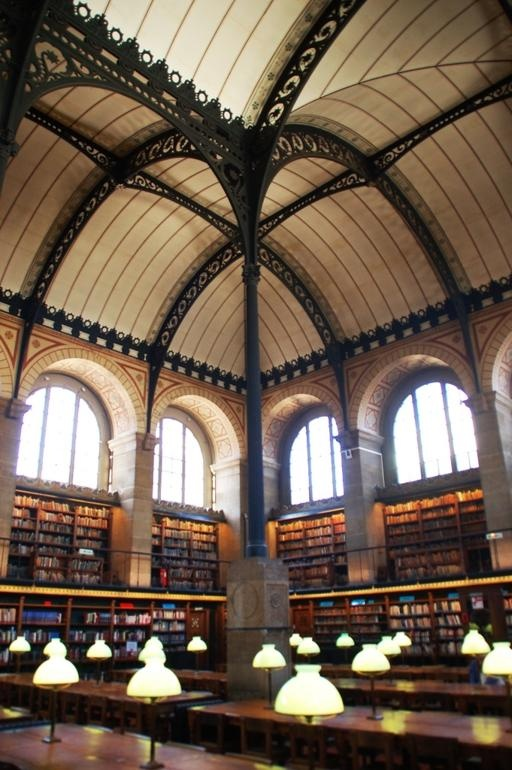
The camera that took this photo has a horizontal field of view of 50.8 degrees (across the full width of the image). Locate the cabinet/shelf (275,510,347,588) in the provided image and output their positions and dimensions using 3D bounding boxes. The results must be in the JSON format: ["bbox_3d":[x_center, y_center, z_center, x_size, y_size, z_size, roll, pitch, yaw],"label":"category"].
[{"bbox_3d":[1.574,4.812,15.771,0.935,2.014,2.582,10,-23,-32],"label":"cabinet/shelf"}]

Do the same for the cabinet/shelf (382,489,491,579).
[{"bbox_3d":[4.309,3.661,13.241,0.977,1.994,2.829,16,-27,-41],"label":"cabinet/shelf"}]
